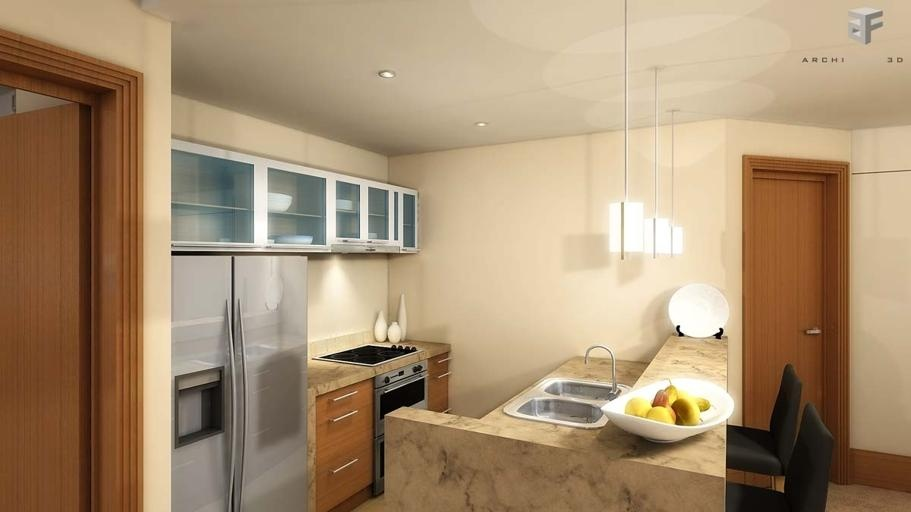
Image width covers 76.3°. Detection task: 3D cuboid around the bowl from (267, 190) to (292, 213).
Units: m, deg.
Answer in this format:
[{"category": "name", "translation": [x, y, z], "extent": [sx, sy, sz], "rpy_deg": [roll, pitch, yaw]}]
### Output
[{"category": "bowl", "translation": [-1.489, -0.448, 4.954], "extent": [0.035, 0.172, 0.237], "rpy_deg": [1, 2, 35]}]

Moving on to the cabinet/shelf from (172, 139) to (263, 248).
[{"category": "cabinet/shelf", "translation": [-2.216, -0.413, 5.280], "extent": [0.574, 1.396, 1.628], "rpy_deg": [-1, 6, -24]}]

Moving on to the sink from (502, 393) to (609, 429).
[{"category": "sink", "translation": [0.730, 1.228, 4.530], "extent": [0.782, 0.179, 0.354], "rpy_deg": [0, 1, -17]}]

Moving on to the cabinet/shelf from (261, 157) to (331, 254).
[{"category": "cabinet/shelf", "translation": [-1.367, -0.378, 4.968], "extent": [0.234, 0.601, 0.664], "rpy_deg": [14, 9, 42]}]

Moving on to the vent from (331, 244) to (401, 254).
[{"category": "vent", "translation": [-0.925, -0.057, 5.735], "extent": [0.419, 0.092, 0.917], "rpy_deg": [0, 1, 21]}]

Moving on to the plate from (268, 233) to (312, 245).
[{"category": "plate", "translation": [-1.398, -0.138, 5.016], "extent": [0.071, 0.094, 0.416], "rpy_deg": [1, 1, 38]}]
